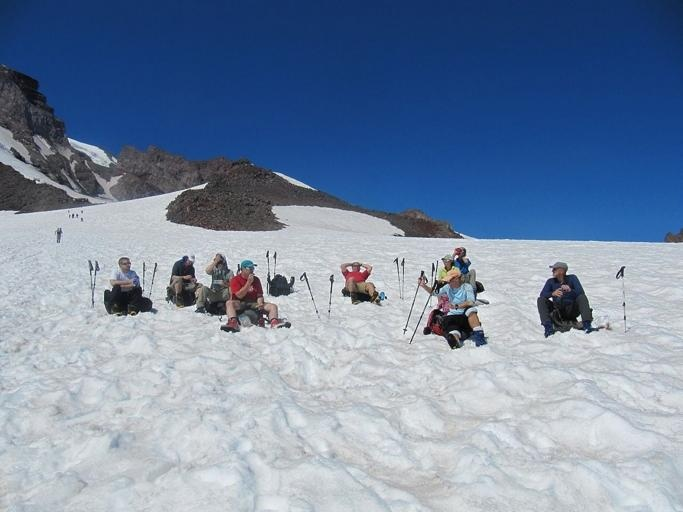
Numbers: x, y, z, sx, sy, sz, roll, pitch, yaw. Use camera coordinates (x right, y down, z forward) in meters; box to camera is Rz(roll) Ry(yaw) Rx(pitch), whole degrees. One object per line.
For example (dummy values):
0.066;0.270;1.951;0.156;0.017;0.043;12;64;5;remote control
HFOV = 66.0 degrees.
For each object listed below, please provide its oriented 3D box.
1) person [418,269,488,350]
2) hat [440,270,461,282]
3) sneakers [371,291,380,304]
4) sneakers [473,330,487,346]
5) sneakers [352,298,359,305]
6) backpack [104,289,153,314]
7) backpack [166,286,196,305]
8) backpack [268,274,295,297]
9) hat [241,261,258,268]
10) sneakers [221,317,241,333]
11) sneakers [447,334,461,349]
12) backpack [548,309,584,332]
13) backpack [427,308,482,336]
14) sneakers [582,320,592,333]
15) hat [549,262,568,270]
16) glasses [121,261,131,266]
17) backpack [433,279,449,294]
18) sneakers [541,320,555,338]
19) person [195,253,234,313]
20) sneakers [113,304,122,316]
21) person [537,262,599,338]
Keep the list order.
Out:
2.260;0.971;9.880;0.846;1.206;1.246;-2;13;8;person
2.222;0.357;10.304;0.403;0.145;0.261;-19;4;-38;hat
0.842;0.985;12.648;0.181;0.281;0.268;0;14;16;sneakers
2.529;1.484;9.623;0.265;0.279;0.501;0;13;14;sneakers
0.355;1.080;12.742;0.175;0.095;0.324;-3;13;4;sneakers
-4.402;0.964;10.929;0.914;0.567;0.489;-9;14;-21;backpack
-3.659;0.918;11.816;0.648;0.422;0.350;2;-3;8;backpack
-1.612;0.805;13.684;0.504;0.634;0.259;0;-18;-15;backpack
-1.937;0.169;10.722;0.258;0.117;0.173;0;-2;12;hat
-2.171;1.357;10.241;0.431;0.170;0.183;5;-9;-27;sneakers
2.048;1.534;9.498;0.247;0.263;0.250;-2;13;6;sneakers
4.300;1.227;10.030;0.547;0.361;0.361;-1;14;12;backpack
2.133;1.263;9.937;0.604;0.296;0.684;-1;2;7;backpack
4.600;1.310;9.826;0.159;0.184;0.186;-1;14;14;sneakers
4.557;0.213;11.056;0.373;0.136;0.229;1;-3;12;hat
-4.467;0.176;10.996;0.159;0.116;0.209;4;-1;-30;glasses
2.371;0.680;12.427;0.145;0.393;0.295;37;33;23;backpack
3.935;1.361;9.986;0.228;0.235;0.342;1;14;20;sneakers
-2.739;0.591;11.465;0.950;1.287;0.951;5;-5;-37;person
-4.543;1.110;10.686;0.176;0.212;0.066;-4;-25;-21;sneakers
4.298;0.772;10.120;1.120;1.403;1.005;4;-15;-29;person
